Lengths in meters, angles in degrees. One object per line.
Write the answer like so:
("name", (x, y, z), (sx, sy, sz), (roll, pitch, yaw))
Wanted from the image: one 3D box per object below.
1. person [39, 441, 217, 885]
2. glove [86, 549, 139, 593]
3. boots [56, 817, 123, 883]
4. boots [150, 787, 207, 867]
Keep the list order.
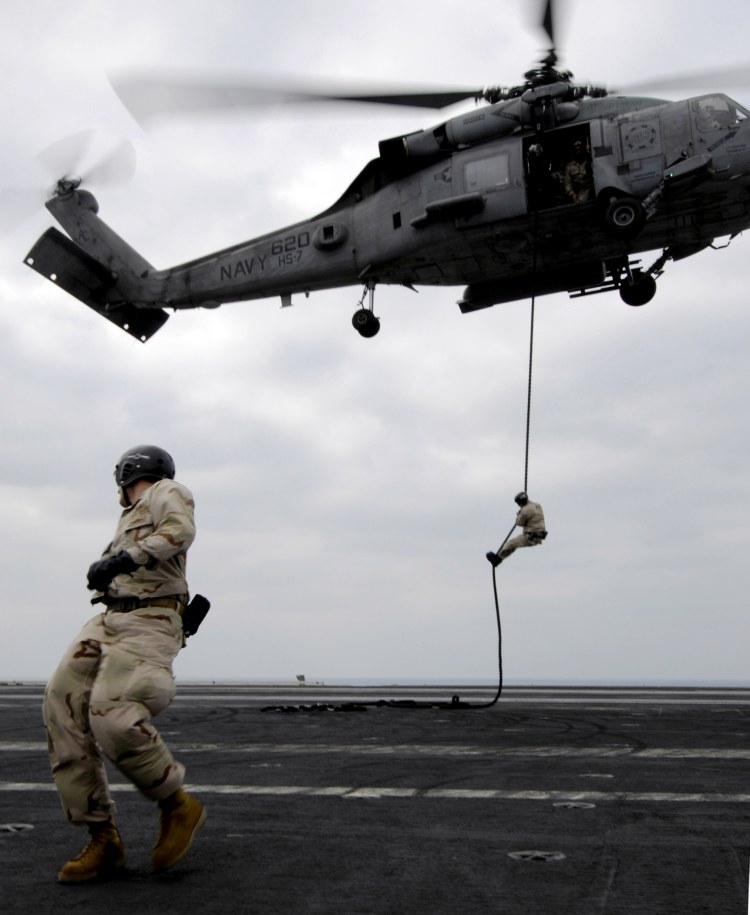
("person", (-1.079, 0.797, 4.629), (0.638, 1.790, 0.621), (1, -9, -16))
("glove", (-1.121, 0.467, 4.528), (0.202, 0.158, 0.116), (-4, -9, 22))
("boots", (-1.132, 1.564, 4.283), (0.167, 0.191, 0.312), (-3, -8, 11))
("boots", (-0.840, 1.505, 4.420), (0.130, 0.163, 0.349), (-17, 27, 27))
